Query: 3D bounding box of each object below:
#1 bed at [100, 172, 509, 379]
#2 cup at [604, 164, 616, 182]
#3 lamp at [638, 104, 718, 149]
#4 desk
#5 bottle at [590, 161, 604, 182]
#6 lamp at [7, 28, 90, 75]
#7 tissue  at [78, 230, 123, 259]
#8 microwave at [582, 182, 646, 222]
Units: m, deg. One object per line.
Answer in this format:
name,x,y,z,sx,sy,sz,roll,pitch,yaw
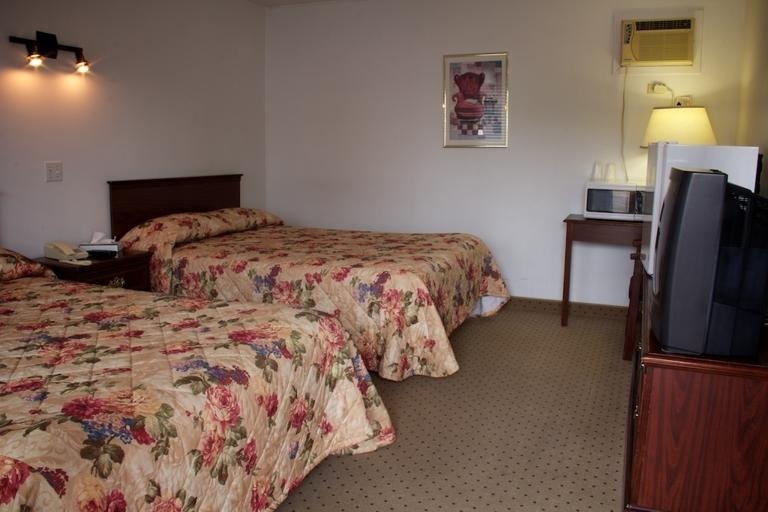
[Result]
bed,-0.759,0.024,4.221,2.526,1.045,1.835,5,14,23
cup,2.084,-0.767,4.711,0.101,0.154,0.052,2,12,11
lamp,2.422,-1.080,4.257,0.461,0.263,0.278,13,17,27
desk,1.869,0.042,4.476,1.024,1.272,0.701,2,10,20
bottle,1.977,-0.783,4.744,0.118,0.174,0.131,5,12,22
lamp,-2.425,-1.489,3.842,0.149,0.277,0.615,6,0,28
tissue ,-2.105,-0.084,3.845,0.237,0.182,0.242,1,5,-1
microwave,2.049,-0.404,4.538,0.554,0.351,0.359,4,-17,18
